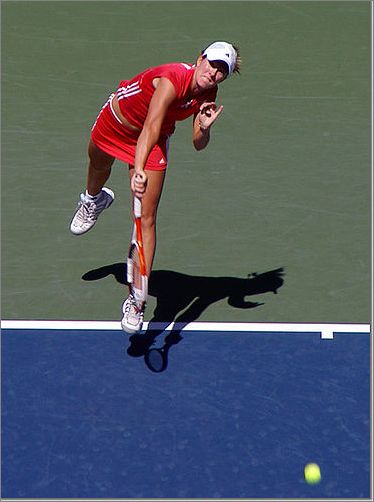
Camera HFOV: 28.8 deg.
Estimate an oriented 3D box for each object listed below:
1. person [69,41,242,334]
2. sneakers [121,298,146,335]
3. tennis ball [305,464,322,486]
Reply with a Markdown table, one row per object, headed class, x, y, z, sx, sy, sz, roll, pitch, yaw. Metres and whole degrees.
| class | x | y | z | sx | sy | sz | roll | pitch | yaw |
| --- | --- | --- | --- | --- | --- | --- | --- | --- | --- |
| person | -0.342 | -0.543 | 5.622 | 0.807 | 2.362 | 1.439 | 8 | 19 | -20 |
| sneakers | -0.414 | 0.501 | 5.508 | 0.121 | 0.161 | 0.354 | 18 | 34 | -19 |
| tennis ball | 0.906 | 1.619 | 5.263 | 0.121 | 0.155 | 0.121 | -7 | -3 | 0 |
